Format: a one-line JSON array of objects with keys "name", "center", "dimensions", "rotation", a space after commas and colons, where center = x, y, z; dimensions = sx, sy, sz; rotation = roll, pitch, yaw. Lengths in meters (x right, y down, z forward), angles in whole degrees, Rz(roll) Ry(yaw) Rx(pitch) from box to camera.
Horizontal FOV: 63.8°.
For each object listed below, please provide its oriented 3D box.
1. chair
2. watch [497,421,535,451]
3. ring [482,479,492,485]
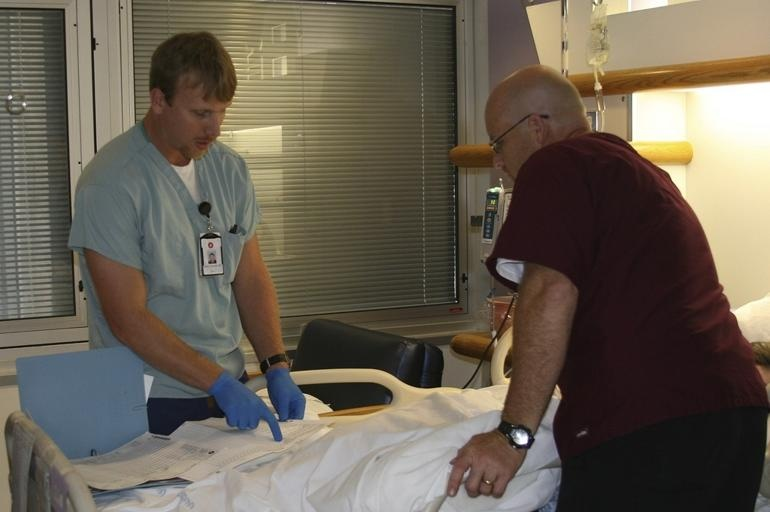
[{"name": "chair", "center": [-0.092, 0.496, 3.032], "dimensions": [0.571, 0.404, 0.558], "rotation": [13, 2, -2]}, {"name": "watch", "center": [0.359, 0.486, 1.752], "dimensions": [0.091, 0.064, 0.088], "rotation": [25, -4, 13]}, {"name": "ring", "center": [0.277, 0.613, 1.680], "dimensions": [0.022, 0.015, 0.006], "rotation": [-1, 8, 6]}]
